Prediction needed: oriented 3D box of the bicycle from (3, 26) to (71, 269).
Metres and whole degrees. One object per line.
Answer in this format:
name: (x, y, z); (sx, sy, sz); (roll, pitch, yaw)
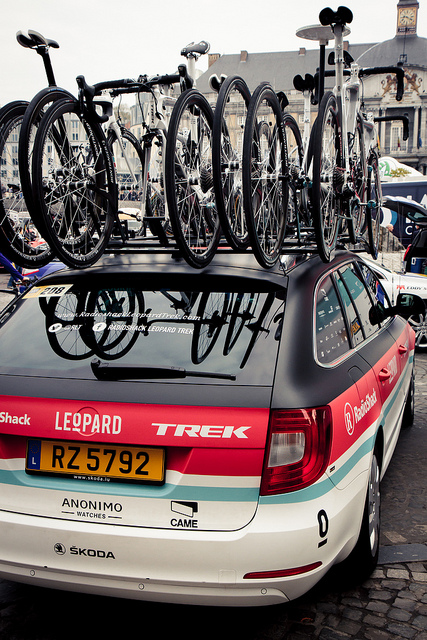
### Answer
bicycle: (-0.988, -1.084, 2.877); (0.341, 1.560, 0.944); (0, -2, -16)

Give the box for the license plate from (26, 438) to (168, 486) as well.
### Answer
license plate: (-0.384, 0.455, 1.648); (0.516, 0.125, 0.016); (-1, -2, 19)
